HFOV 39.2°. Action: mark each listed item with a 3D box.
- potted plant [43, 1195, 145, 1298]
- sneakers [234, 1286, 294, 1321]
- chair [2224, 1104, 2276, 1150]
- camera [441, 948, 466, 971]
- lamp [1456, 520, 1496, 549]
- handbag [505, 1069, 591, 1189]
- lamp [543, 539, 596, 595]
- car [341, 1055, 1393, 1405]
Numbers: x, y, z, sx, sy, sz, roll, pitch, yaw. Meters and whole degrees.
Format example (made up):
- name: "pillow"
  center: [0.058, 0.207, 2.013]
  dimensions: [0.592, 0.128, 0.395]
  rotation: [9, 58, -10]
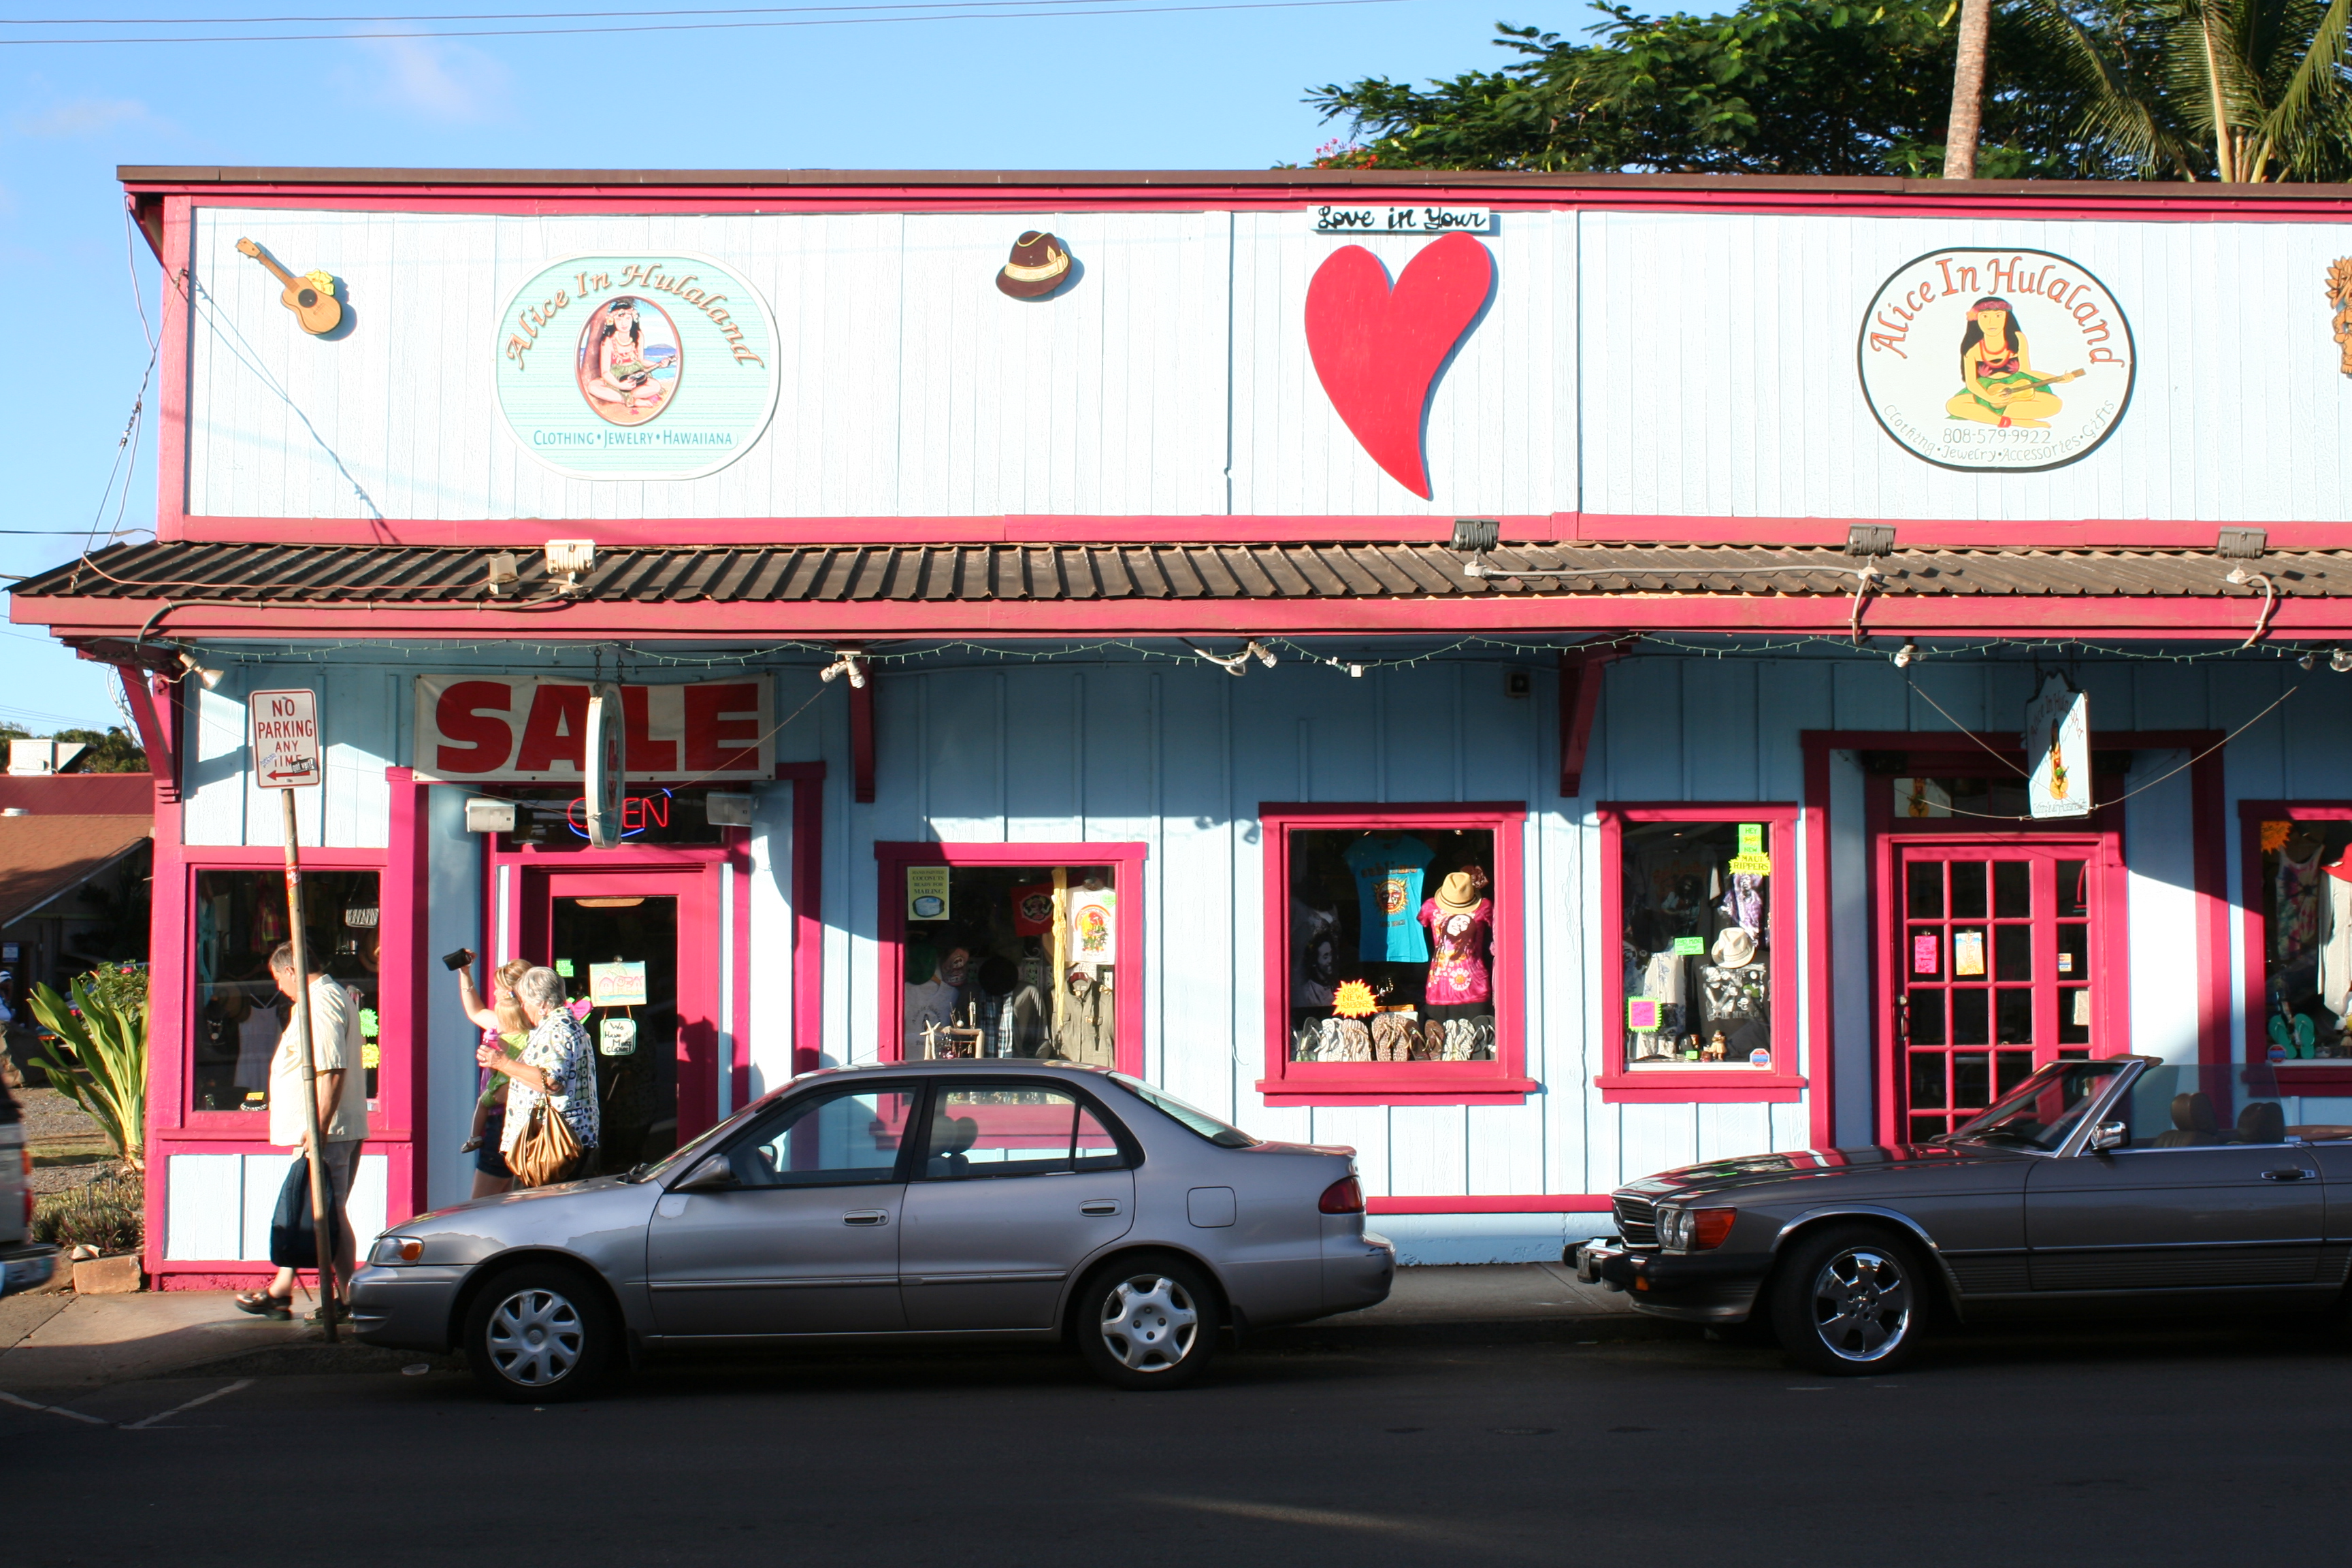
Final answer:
- name: "potted plant"
  center: [-8.315, 3.526, 25.316]
  dimensions: [0.733, 0.834, 1.441]
  rotation: [3, -10, -20]
- name: "sneakers"
  center: [-6.659, 3.838, 24.170]
  dimensions: [0.436, 0.194, 0.177]
  rotation: [7, -2, 4]
- name: "chair"
  center: [7.370, 2.333, 22.335]
  dimensions: [0.273, 0.249, 0.276]
  rotation: [-1, -5, 9]
- name: "camera"
  center: [-5.436, 1.341, 24.883]
  dimensions: [0.132, 0.136, 0.189]
  rotation: [-5, -4, -10]
- name: "lamp"
  center: [2.332, -1.909, 25.220]
  dimensions: [0.242, 0.237, 0.069]
  rotation: [5, -5, -3]
- name: "handbag"
  center: [-4.436, 2.446, 23.350]
  dimensions: [0.621, 0.913, 0.421]
  rotation: [-13, -1, -27]
- name: "lamp"
  center: [-4.577, -1.640, 24.648]
  dimensions: [0.446, 0.435, 0.112]
  rotation: [0, -17, 23]
- name: "car"
  center: [-2.004, 3.099, 22.792]
  dimensions: [6.506, 2.127, 2.682]
  rotation: [1, -8, -2]
